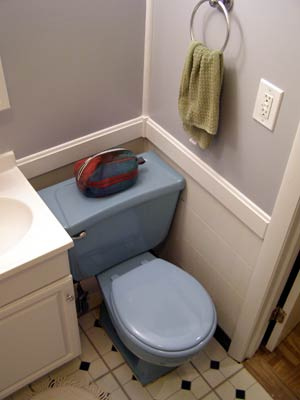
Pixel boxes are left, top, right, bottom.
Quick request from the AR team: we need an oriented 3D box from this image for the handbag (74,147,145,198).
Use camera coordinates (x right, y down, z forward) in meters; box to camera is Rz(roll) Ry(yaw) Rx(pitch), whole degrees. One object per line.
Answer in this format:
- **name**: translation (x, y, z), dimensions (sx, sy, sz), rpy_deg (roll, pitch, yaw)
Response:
- **handbag**: translation (-0.137, -0.123, 1.208), dimensions (0.252, 0.149, 0.155), rpy_deg (-17, 43, -22)

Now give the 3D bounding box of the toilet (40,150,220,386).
- **toilet**: translation (-0.053, 0.350, 1.378), dimensions (0.523, 0.746, 0.675), rpy_deg (-25, 51, -30)

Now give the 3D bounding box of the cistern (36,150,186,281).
- **cistern**: translation (-0.207, 0.003, 1.494), dimensions (0.526, 0.523, 0.494), rpy_deg (-16, 45, -26)

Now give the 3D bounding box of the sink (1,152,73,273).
- **sink**: translation (-0.384, 0.074, 1.058), dimensions (0.239, 0.132, 0.357), rpy_deg (-21, 55, -26)
